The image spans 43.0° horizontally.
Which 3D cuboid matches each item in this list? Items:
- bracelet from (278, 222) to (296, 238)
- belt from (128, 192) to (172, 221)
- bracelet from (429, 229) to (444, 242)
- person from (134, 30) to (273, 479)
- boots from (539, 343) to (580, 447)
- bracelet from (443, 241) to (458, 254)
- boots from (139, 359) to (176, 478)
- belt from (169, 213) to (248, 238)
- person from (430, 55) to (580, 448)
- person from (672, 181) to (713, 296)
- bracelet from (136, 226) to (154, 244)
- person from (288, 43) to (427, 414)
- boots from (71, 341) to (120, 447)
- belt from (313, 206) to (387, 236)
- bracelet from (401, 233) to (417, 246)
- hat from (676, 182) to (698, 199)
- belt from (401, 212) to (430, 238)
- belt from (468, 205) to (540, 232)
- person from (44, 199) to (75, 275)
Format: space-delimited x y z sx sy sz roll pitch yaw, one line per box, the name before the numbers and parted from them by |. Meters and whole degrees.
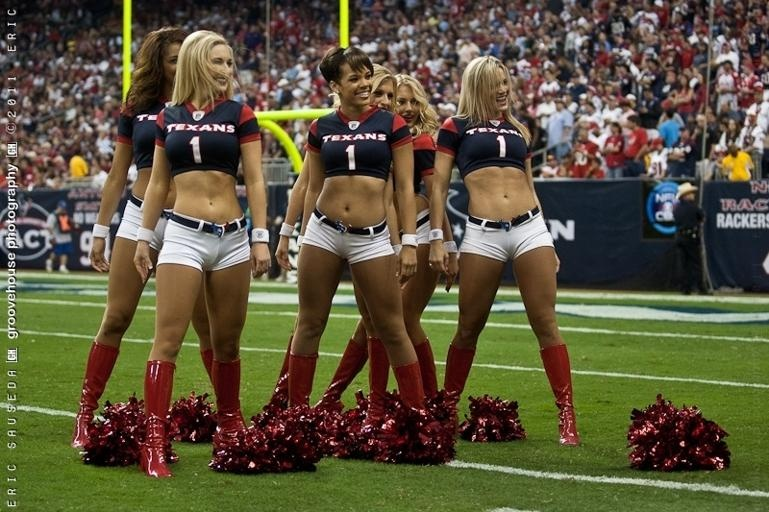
bracelet | -0.728 -0.196 7.228 0.110 0.103 0.115 35 -16 3
belt | -1.691 -0.328 6.952 0.265 0.279 0.269 2 -5 -15
bracelet | 0.361 -0.150 6.897 0.076 0.061 0.078 1 -5 2
person | -1.164 -0.052 6.236 0.829 2.770 0.525 0 4 -16
boots | 1.241 0.934 6.887 0.287 0.652 0.572 2 4 9
bracelet | 0.477 -0.069 7.134 0.093 0.079 0.093 -1 1 30
boots | -1.405 0.993 6.057 0.191 0.702 0.194 0 4 -15
belt | -1.121 -0.206 6.209 0.481 0.148 0.199 0 4 -13
person | 0.834 -0.084 6.898 1.013 2.654 0.557 2 4 8
person | 2.076 -0.127 6.657 0.199 0.748 0.486 1 4 2
bracelet | -1.544 -0.140 6.342 0.105 0.079 0.102 16 -9 -33
person | -0.178 -0.184 6.655 0.985 2.438 0.298 3 4 22
boots | -2.011 0.935 6.724 0.257 0.671 0.513 1 4 -1
belt | -0.238 -0.234 6.618 0.490 0.165 0.178 1 4 0
bracelet | 0.172 -0.111 6.603 0.111 0.082 0.075 0 4 -21
hat | 2.013 -0.443 6.528 0.091 0.044 0.091 -20 -8 -26
belt | 0.241 -0.241 7.318 0.128 0.157 0.128 -2 -24 -29
belt | 0.851 -0.271 6.941 0.511 0.166 0.196 2 4 5
person | -6.944 -0.424 20.957 0.488 1.527 0.830 -2 5 -35
